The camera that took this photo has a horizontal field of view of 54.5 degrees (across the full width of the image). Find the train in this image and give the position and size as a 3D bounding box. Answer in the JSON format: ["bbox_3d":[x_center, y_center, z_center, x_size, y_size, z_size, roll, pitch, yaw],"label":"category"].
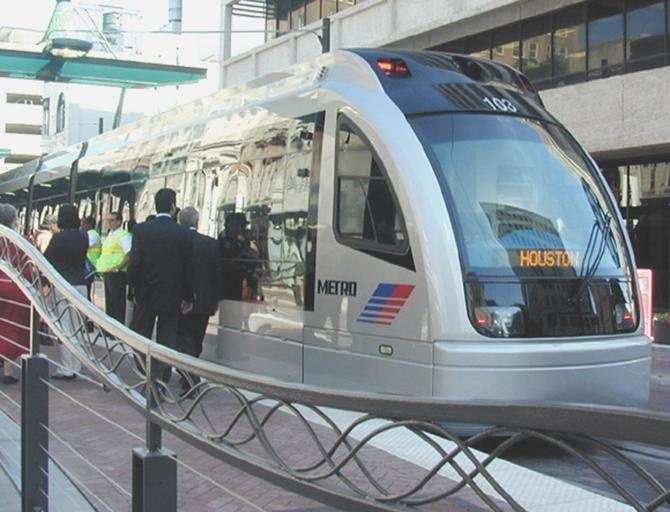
[{"bbox_3d":[0.274,-0.392,7.539,1.921,2.851,5.788,0,1,-40],"label":"train"}]
